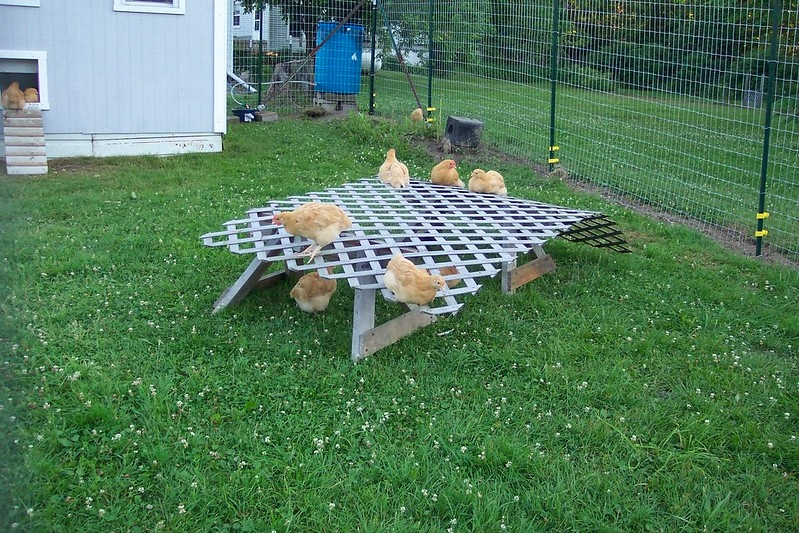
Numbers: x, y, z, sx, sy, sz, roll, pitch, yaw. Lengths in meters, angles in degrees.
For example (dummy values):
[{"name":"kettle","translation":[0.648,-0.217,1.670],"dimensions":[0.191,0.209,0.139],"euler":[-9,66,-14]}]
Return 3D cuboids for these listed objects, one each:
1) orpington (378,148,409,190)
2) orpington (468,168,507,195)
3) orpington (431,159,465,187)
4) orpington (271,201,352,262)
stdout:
[{"name":"orpington","translation":[-0.079,-1.223,7.683],"dimensions":[0.283,0.359,0.568],"euler":[-2,55,-6]},{"name":"orpington","translation":[1.087,-1.074,7.794],"dimensions":[0.406,0.310,0.296],"euler":[-4,8,-29]},{"name":"orpington","translation":[0.577,-1.226,8.042],"dimensions":[0.278,0.308,0.407],"euler":[-2,17,-15]},{"name":"orpington","translation":[-0.837,-0.412,5.894],"dimensions":[0.719,0.534,0.434],"euler":[-12,31,7]}]
